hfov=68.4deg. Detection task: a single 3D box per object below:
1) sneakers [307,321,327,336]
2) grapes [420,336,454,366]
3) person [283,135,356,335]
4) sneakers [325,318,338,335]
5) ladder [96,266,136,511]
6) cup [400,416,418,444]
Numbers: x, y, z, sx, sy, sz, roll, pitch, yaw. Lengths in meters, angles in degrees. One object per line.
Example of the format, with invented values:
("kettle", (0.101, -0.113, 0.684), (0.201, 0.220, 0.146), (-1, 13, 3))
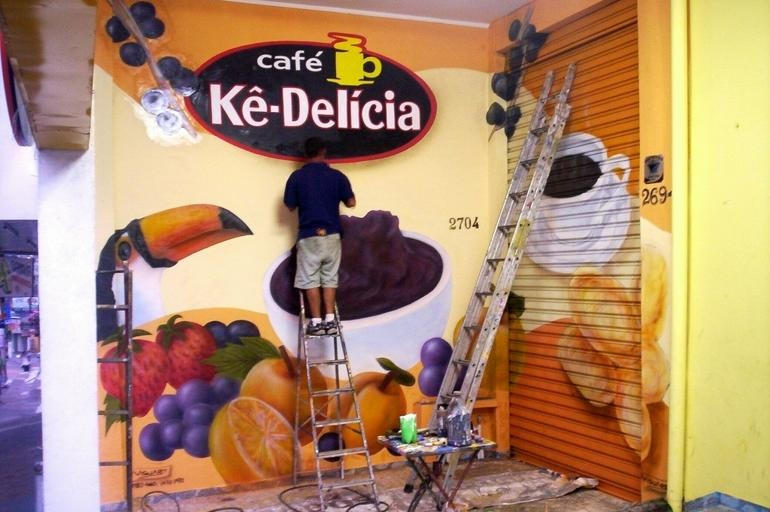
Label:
("sneakers", (-0.663, 0.696, 5.418), (0.092, 0.093, 0.209), (-1, 6, -9))
("grapes", (0.554, 1.053, 6.273), (0.335, 0.370, 0.317), (5, 33, 8))
("person", (-0.623, -0.206, 5.584), (0.662, 1.535, 0.259), (-4, -2, -13))
("sneakers", (-0.529, 0.690, 5.470), (0.073, 0.135, 0.190), (-1, -44, -14))
("ladder", (-2.401, 1.197, 5.097), (0.378, 2.314, 0.604), (-4, -2, -26))
("cup", (0.191, 1.417, 4.682), (0.141, 0.205, 0.168), (-5, -2, -2))
